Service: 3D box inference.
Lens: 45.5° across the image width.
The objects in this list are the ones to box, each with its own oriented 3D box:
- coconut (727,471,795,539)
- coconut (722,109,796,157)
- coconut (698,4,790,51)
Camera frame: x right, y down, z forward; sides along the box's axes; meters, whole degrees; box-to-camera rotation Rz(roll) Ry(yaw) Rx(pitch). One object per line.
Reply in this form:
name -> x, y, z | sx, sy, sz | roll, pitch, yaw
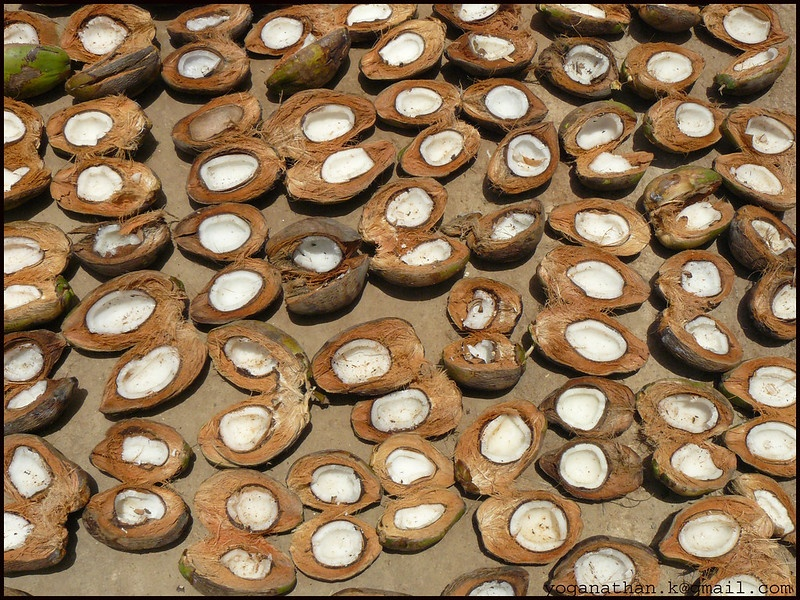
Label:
coconut -> 3.592, 1.999, 9.392 | 0.490, 0.155, 0.618 | -23, 79, -1
coconut -> 3.899, -1.785, 10.166 | 0.765, 0.232, 0.484 | 24, 88, 0
coconut -> 3.834, -3.072, 10.734 | 0.769, 0.242, 0.564 | 36, 80, 14
